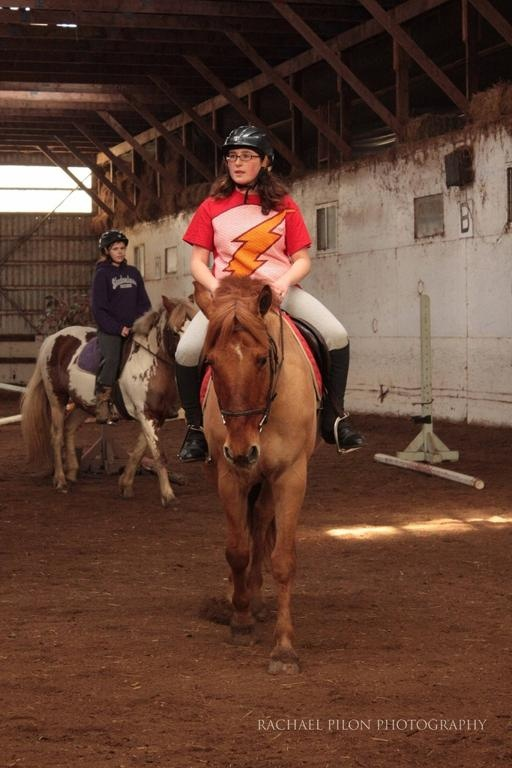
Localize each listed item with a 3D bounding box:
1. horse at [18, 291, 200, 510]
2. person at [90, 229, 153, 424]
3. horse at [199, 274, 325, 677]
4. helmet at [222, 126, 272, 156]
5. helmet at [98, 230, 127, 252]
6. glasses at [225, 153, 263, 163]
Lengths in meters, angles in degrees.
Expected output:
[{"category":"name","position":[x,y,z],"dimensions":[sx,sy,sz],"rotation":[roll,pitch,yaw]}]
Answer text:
[{"category":"horse","position":[-1.340,0.136,7.981],"dimensions":[2.730,1.879,0.678],"rotation":[3,1,44]},{"category":"person","position":[-1.227,-0.508,7.619],"dimensions":[0.494,1.722,0.358],"rotation":[-2,2,-10]},{"category":"horse","position":[0.018,0.371,3.523],"dimensions":[0.537,1.587,1.152],"rotation":[-2,2,4]},{"category":"helmet","position":[-0.036,-1.070,3.722],"dimensions":[0.139,0.134,0.186],"rotation":[9,15,20]},{"category":"helmet","position":[-1.340,-1.274,7.533],"dimensions":[0.279,0.198,0.196],"rotation":[9,7,24]},{"category":"glasses","position":[-0.057,-0.987,3.664],"dimensions":[0.146,0.057,0.055],"rotation":[-1,2,9]}]
